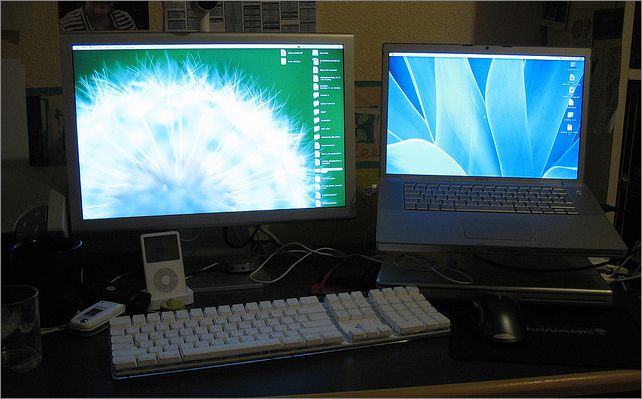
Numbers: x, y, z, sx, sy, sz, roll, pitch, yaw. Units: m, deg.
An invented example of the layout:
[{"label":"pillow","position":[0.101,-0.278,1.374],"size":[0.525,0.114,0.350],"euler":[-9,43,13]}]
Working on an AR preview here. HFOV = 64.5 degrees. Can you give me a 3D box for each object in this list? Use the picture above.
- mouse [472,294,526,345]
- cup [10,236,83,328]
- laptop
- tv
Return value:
[{"label":"mouse","position":[0.417,0.256,1.197],"size":[0.120,0.052,0.176],"euler":[6,29,5]},{"label":"cup","position":[-0.660,0.202,1.304],"size":[0.208,0.211,0.190],"euler":[-3,2,0]},{"label":"laptop","position":[0.469,-0.043,1.560],"size":[0.786,0.498,0.572],"euler":[1,37,2]},{"label":"tv","position":[-0.311,-0.119,1.361],"size":[0.788,0.494,0.067],"euler":[-2,5,-11]}]
